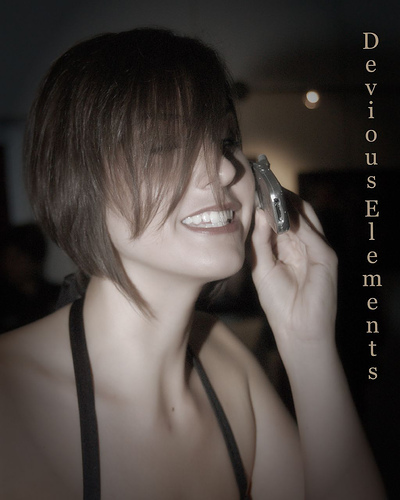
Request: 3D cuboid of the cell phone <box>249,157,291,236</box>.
[{"bbox_3d":[0.136,-0.102,0.992,0.055,0.213,0.129,-18,87,2],"label":"cell phone"}]
